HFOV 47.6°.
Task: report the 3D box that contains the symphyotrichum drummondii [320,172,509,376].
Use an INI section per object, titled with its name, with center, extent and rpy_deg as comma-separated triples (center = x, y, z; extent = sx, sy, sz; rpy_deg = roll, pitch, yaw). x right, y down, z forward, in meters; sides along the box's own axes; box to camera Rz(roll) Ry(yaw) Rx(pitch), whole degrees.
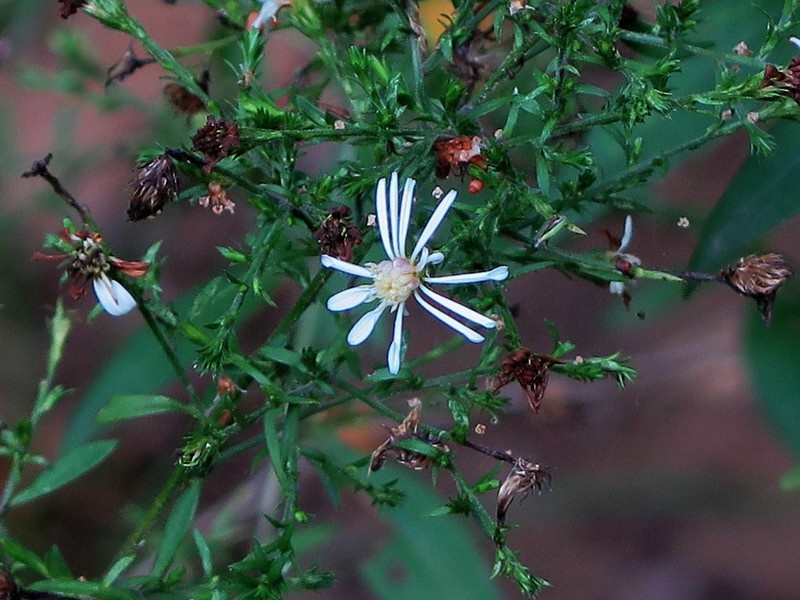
[symphyotrichum drummondii]
center = 0.019, -0.038, 1.377
extent = 0.232, 0.071, 0.248
rpy_deg = 34, -12, 40
